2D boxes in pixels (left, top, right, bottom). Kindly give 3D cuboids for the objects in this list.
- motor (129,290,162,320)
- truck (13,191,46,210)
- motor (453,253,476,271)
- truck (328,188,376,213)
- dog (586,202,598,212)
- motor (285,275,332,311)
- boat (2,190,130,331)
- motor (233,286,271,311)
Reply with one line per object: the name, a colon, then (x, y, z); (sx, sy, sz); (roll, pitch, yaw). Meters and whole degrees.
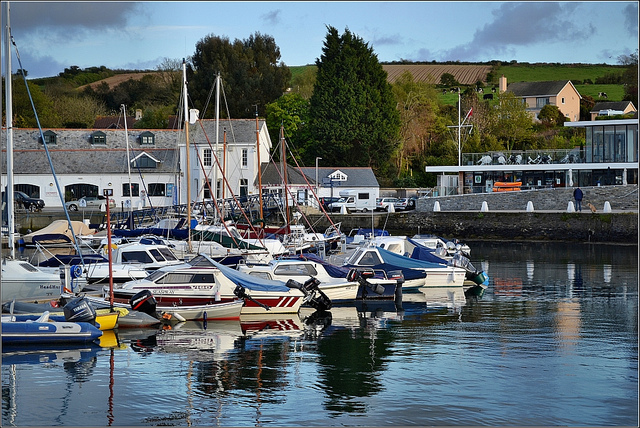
motor: (-10.341, 5.257, 68.614); (1.876, 1.859, 1.124); (5, 19, 17)
truck: (-25.552, -1.249, 102.150); (3.636, 1.783, 1.970); (-1, 1, 1)
motor: (9.632, 3.222, 77.498); (1.384, 0.864, 0.411); (34, -26, 24)
truck: (3.189, -1.298, 113.724); (4.541, 2.254, 2.187); (0, -3, -28)
dog: (22.445, -0.608, 96.072); (0.431, 0.727, 1.180); (-20, 9, 7)
motor: (-0.482, 4.688, 70.472); (3.304, 1.703, 0.998); (20, 12, -17)
boat: (-16.852, 3.082, 76.815); (14.282, 8.576, 6.884); (3, -2, -18)
motor: (-3.895, 5.007, 69.284); (2.519, 0.741, 0.817); (33, -16, -1)
